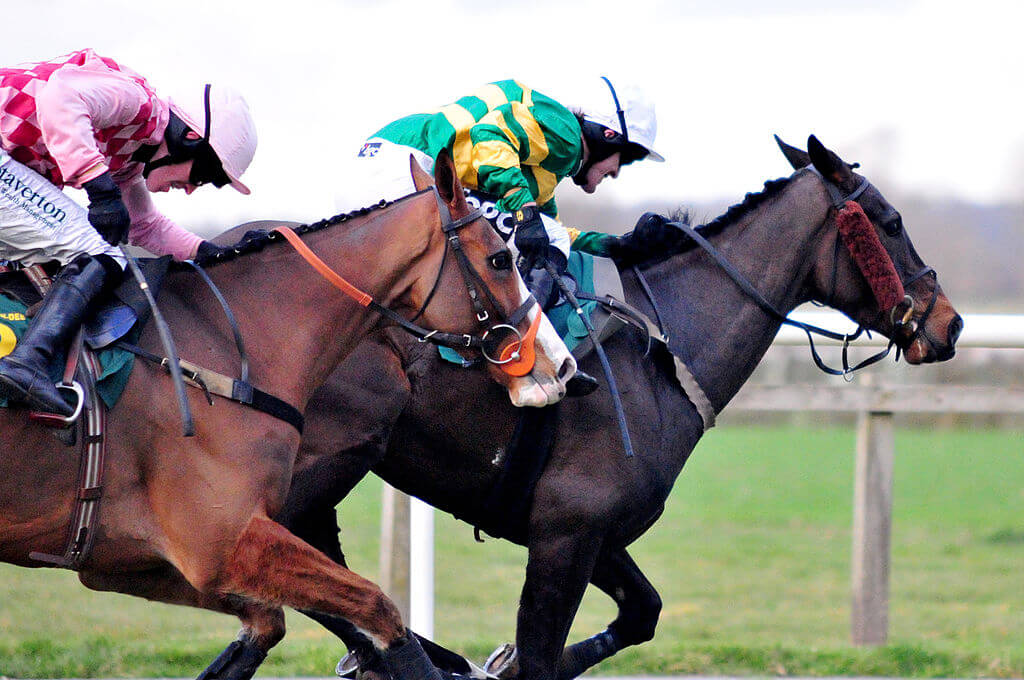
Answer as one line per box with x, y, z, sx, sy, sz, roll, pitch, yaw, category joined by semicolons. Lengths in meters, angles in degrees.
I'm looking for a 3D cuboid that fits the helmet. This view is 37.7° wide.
0.392;-0.908;6.061;0.428;0.233;0.280;12;-6;-2;helmet

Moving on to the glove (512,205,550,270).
0.062;-0.379;5.521;0.127;0.219;0.090;-6;4;23;glove

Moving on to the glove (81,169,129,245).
-1.364;-0.441;5.068;0.099;0.085;0.318;-33;-25;-9;glove
